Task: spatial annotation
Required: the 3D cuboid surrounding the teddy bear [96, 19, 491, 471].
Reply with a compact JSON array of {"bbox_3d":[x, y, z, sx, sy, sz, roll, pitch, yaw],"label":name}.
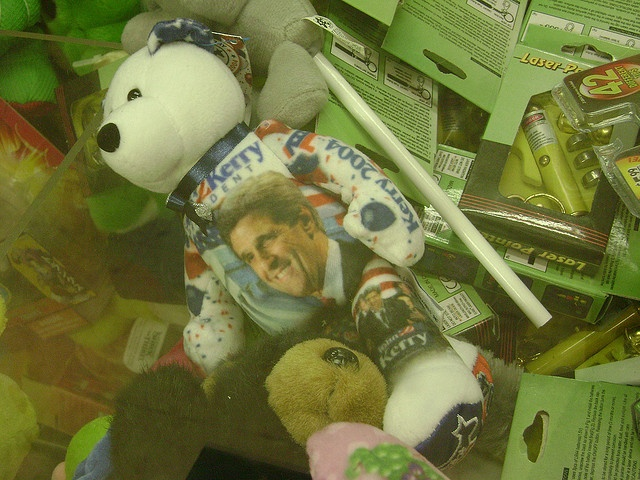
[{"bbox_3d":[-0.045,-0.020,0.952,0.709,0.295,0.419,45,93,8],"label":"teddy bear"}]
